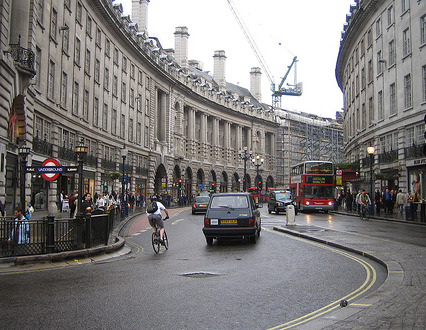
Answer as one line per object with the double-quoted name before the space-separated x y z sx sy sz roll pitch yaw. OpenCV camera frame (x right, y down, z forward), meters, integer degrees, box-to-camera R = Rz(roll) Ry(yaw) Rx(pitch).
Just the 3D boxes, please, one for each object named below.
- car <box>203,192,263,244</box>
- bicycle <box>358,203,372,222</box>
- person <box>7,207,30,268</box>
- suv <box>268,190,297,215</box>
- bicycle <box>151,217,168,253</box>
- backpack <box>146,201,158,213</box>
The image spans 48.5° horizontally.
"car" 0.701 2.096 19.050 2.408 2.218 1.998 2 -8 -19
"bicycle" 11.201 3.404 34.865 0.651 1.037 1.468 0 -5 -10
"person" -6.055 2.257 14.726 0.552 1.504 1.875 2 -9 -24
"suv" 6.092 3.141 42.881 1.435 1.630 2.979 0 -9 -7
"bicycle" -2.012 2.680 17.080 0.439 0.715 1.045 -7 9 6
"backpack" -2.200 1.496 17.043 0.385 0.463 0.381 1 -7 -11
